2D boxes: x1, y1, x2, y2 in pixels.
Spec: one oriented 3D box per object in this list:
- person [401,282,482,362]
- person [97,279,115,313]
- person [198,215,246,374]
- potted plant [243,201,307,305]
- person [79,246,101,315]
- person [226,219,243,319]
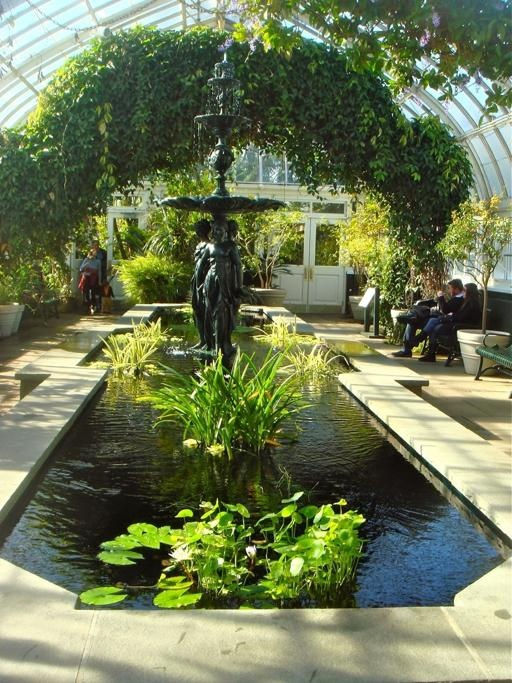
[{"bbox_3d":[2.718,-0.336,7.668,1.068,1.366,0.701,7,15,-9],"label":"person"},{"bbox_3d":[-3.774,-1.130,12.741,0.285,0.795,0.928,-2,9,-18],"label":"person"},{"bbox_3d":[-0.341,-0.573,5.360,0.364,1.420,0.558,-3,9,-24],"label":"person"},{"bbox_3d":[0.434,-2.636,14.678,2.259,2.161,1.654,-2,9,-20],"label":"potted plant"},{"bbox_3d":[-4.102,-1.495,12.577,0.498,1.590,0.468,-2,9,-19],"label":"person"},{"bbox_3d":[-0.227,-0.760,5.419,0.175,1.022,0.239,-1,3,4],"label":"person"}]
